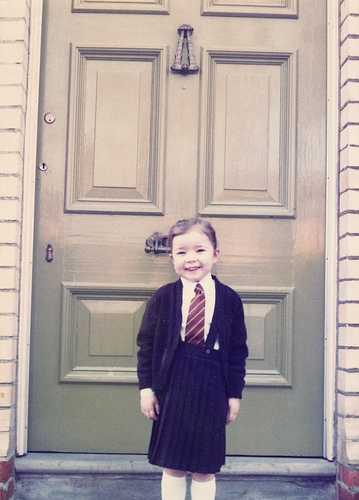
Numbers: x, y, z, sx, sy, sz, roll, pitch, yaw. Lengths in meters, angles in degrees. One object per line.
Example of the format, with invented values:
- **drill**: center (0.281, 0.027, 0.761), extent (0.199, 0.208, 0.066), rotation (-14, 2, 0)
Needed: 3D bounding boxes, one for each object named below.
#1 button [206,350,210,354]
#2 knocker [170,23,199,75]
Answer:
- **button**: center (0.093, 0.360, 4.258), extent (0.011, 0.013, 0.003), rotation (0, -4, -17)
- **knocker**: center (0.014, -0.804, 4.682), extent (0.104, 0.190, 0.055), rotation (1, -1, 5)
